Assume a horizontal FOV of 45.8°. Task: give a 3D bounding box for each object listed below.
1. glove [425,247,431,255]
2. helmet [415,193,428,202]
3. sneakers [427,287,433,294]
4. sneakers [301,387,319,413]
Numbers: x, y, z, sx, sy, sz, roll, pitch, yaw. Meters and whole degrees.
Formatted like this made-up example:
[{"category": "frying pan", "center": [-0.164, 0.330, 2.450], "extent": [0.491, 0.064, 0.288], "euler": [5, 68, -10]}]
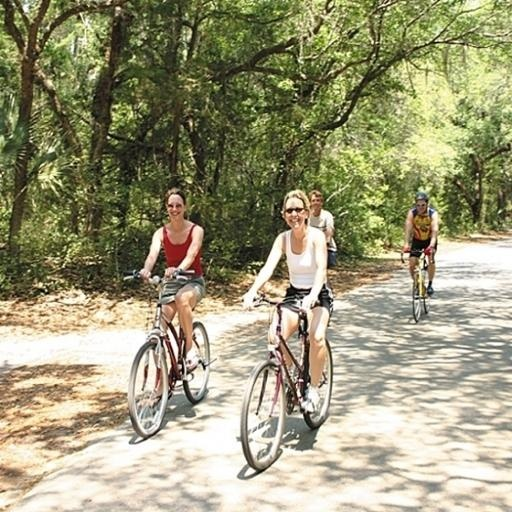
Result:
[{"category": "glove", "center": [2.914, -0.102, 10.248], "extent": [0.085, 0.113, 0.100], "euler": [-1, -8, -12]}, {"category": "helmet", "center": [2.795, -1.023, 10.272], "extent": [0.203, 0.154, 0.341], "euler": [3, 0, 13]}, {"category": "sneakers", "center": [2.992, 0.586, 10.448], "extent": [0.051, 0.067, 0.153], "euler": [-5, -24, 5]}, {"category": "sneakers", "center": [0.419, 1.126, 4.722], "extent": [0.093, 0.108, 0.255], "euler": [-2, 1, 11]}]
